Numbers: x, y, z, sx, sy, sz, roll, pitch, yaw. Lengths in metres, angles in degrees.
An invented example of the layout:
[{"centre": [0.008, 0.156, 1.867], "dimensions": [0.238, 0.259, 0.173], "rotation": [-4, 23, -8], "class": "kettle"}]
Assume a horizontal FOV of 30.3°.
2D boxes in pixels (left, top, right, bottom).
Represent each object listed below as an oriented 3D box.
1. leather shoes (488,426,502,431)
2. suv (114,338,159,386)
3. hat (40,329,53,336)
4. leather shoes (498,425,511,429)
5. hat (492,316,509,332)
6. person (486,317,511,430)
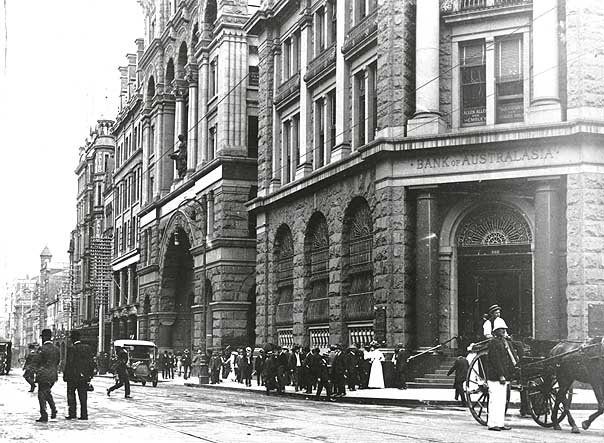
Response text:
[{"centre": [5.593, 5.987, 31.981], "dimensions": [0.352, 0.135, 0.115], "rotation": [-3, -4, 4], "class": "leather shoes"}, {"centre": [-8.425, 7.506, 58.142], "dimensions": [2.387, 2.295, 4.094], "rotation": [2, -4, -14], "class": "suv"}, {"centre": [-7.733, 3.419, 33.744], "dimensions": [0.263, 0.241, 0.257], "rotation": [2, -4, -13], "class": "hat"}, {"centre": [5.913, 5.985, 32.166], "dimensions": [0.353, 0.134, 0.117], "rotation": [0, -5, -11], "class": "leather shoes"}, {"centre": [5.935, 3.081, 33.014], "dimensions": [0.477, 0.305, 0.415], "rotation": [-4, 0, -42], "class": "hat"}, {"centre": [5.821, 4.607, 32.492], "dimensions": [0.952, 3.047, 0.589], "rotation": [12, -19, -40], "class": "person"}]
